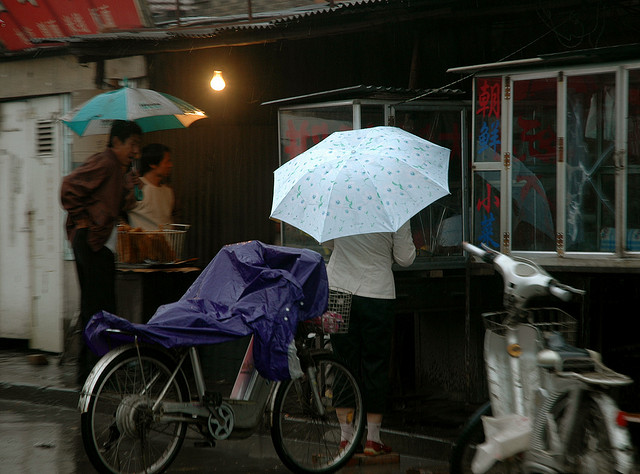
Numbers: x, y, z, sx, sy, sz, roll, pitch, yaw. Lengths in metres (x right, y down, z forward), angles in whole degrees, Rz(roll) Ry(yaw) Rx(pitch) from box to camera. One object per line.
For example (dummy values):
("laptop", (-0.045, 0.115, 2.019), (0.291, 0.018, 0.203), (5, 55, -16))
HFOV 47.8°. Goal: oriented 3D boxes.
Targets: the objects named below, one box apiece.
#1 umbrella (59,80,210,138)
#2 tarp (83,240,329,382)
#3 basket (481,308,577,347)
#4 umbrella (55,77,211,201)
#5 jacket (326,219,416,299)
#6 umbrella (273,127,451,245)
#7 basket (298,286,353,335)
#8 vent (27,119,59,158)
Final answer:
("umbrella", (-2.392, -1.684, 9.175), (1.574, 0.741, 1.640), (-8, 13, -15))
("tarp", (-0.845, 0.591, 6.024), (1.597, 0.716, 1.232), (-8, 13, -35))
("basket", (1.704, 0.717, 5.627), (0.693, 0.263, 0.528), (3, -4, -12))
("umbrella", (-2.320, -1.131, 9.421), (1.647, 1.468, 1.688), (-3, 3, 2))
("jacket", (0.508, 0.148, 6.982), (0.885, 1.036, 0.679), (3, 6, 12))
("umbrella", (0.378, -0.468, 6.452), (1.550, 1.062, 0.771), (2, -2, -5))
("basket", (0.173, 0.677, 6.566), (0.341, 0.448, 0.505), (9, 3, 18))
("vent", (-4.103, -1.470, 10.670), (0.403, 0.524, 0.401), (-4, 19, -34))
